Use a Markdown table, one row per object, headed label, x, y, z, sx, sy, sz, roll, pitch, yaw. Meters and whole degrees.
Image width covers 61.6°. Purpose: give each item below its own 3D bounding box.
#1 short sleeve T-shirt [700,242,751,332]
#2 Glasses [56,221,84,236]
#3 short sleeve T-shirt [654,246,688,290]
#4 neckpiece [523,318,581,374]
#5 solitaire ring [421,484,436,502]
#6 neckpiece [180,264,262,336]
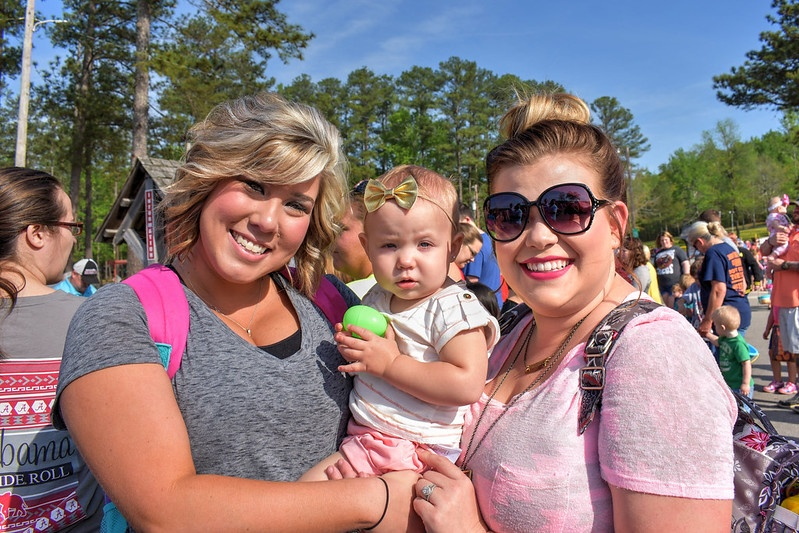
| label | x | y | z | sx | sy | sz | roll | pitch | yaw |
| --- | --- | --- | --- | --- | --- | --- | --- | --- | --- |
| short sleeve T-shirt | 4.351 | 0.278 | 8.931 | 0.617 | 1.068 | 0.878 | -2 | 2 | 43 |
| Glasses | -2.581 | -0.315 | 5.279 | 0.219 | 0.067 | 0.221 | -1 | -3 | 36 |
| short sleeve T-shirt | 5.559 | 0.032 | 13.659 | 0.778 | 0.931 | 0.544 | -7 | 3 | 44 |
| neckpiece | 0.881 | 0.476 | 3.805 | 0.086 | 0.330 | 0.245 | 31 | 11 | -18 |
| solitaire ring | 0.156 | 1.257 | 3.728 | 0.034 | 0.085 | 0.066 | 26 | 25 | -16 |
| neckpiece | -1.061 | 0.190 | 3.930 | 0.295 | 0.527 | 0.092 | -41 | 7 | -28 |
